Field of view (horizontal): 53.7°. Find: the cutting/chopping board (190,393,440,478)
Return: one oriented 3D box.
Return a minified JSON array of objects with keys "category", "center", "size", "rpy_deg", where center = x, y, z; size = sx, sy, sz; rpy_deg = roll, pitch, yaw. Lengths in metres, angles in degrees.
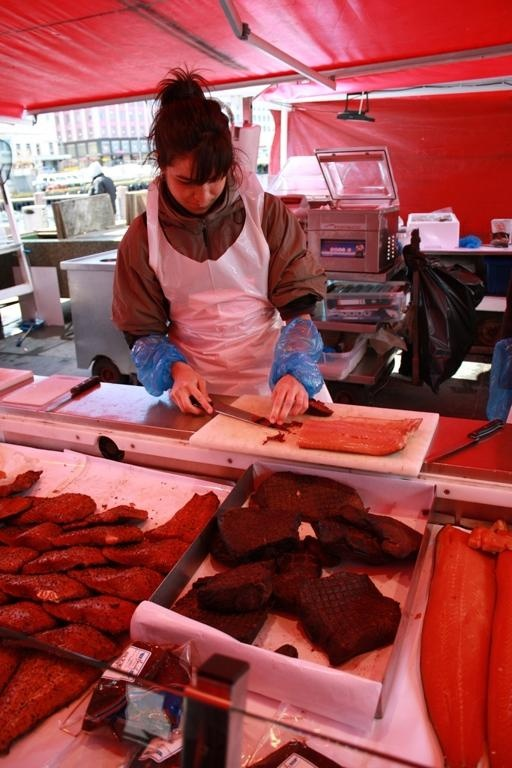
[{"category":"cutting/chopping board","center":[0.131,0.143,1.348],"size":[0.506,0.077,0.366],"rpy_deg":[-15,14,-25]}]

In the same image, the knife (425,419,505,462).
[{"category":"knife","center":[0.537,0.143,1.292],"size":[0.325,0.027,0.053],"rpy_deg":[-17,19,-35]}]

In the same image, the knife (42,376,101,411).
[{"category":"knife","center":[-0.625,0.030,1.720],"size":[0.083,0.036,0.308],"rpy_deg":[-3,15,8]}]

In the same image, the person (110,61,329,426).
[{"category":"person","center":[-0.158,-0.404,1.863],"size":[0.717,1.531,0.736],"rpy_deg":[1,19,5]}]

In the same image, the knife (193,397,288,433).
[{"category":"knife","center":[-0.063,0.068,1.535],"size":[0.388,0.047,0.102],"rpy_deg":[18,26,40]}]
